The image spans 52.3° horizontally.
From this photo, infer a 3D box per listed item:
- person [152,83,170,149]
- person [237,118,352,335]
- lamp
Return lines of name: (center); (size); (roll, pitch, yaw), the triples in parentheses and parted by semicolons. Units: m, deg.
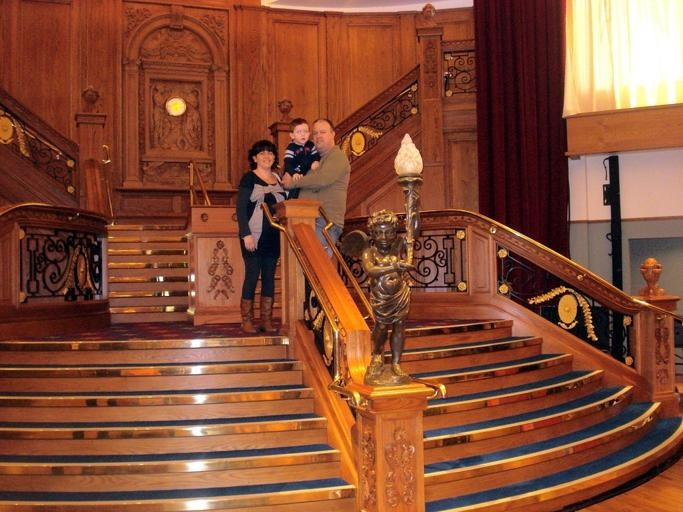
person: (-3.062, -2.406, 11.934); (0.300, 1.129, 0.132); (-3, -11, -8)
person: (-0.445, -0.301, 6.816); (1.102, 2.029, 0.630); (-4, 4, 1)
lamp: (0.377, 0.059, 4.884); (0.378, 1.720, 0.816); (-5, 4, -22)
